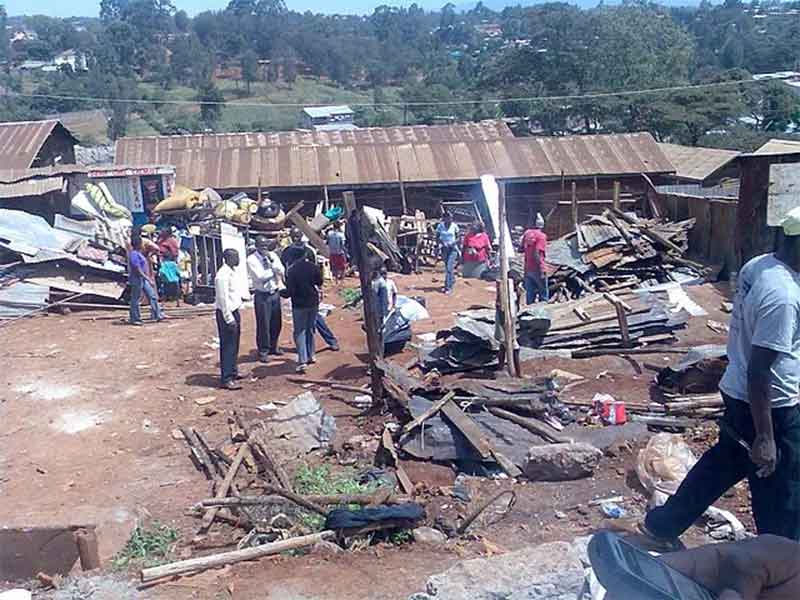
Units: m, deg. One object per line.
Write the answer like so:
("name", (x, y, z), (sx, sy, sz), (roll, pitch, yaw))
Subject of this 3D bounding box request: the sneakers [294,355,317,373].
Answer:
("sneakers", (-1.445, 0.999, 9.871), (0.408, 0.154, 0.133), (-29, 9, -19))

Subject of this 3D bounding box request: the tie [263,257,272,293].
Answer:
("tie", (-2.082, -0.401, 9.891), (0.176, 0.569, 0.165), (-8, 12, -14))

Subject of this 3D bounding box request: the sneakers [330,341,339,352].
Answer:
("sneakers", (-1.122, 0.772, 10.533), (0.094, 0.097, 0.236), (-23, 20, -10))

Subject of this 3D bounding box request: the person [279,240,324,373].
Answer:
("person", (-1.483, 0.132, 9.713), (0.604, 1.944, 0.489), (-7, 12, -10))

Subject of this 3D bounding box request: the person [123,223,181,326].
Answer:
("person", (-5.288, -0.502, 12.754), (0.618, 1.890, 1.164), (-8, 12, -13))

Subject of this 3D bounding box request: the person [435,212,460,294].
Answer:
("person", (1.154, -1.153, 14.820), (0.463, 1.850, 1.268), (-4, 11, 4))

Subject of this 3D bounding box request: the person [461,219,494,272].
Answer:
("person", (1.923, -1.262, 15.924), (0.650, 1.396, 0.796), (7, 16, 44))

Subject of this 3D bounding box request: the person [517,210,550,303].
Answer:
("person", (2.498, -0.704, 11.707), (0.440, 1.645, 1.042), (-3, 11, 11))

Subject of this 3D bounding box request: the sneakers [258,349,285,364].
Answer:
("sneakers", (-2.165, 0.901, 10.451), (0.162, 0.189, 0.514), (14, 22, 40))
